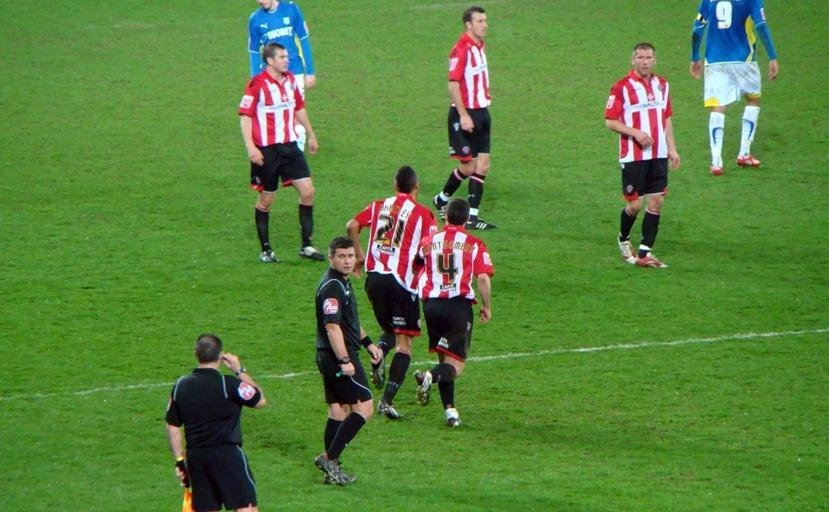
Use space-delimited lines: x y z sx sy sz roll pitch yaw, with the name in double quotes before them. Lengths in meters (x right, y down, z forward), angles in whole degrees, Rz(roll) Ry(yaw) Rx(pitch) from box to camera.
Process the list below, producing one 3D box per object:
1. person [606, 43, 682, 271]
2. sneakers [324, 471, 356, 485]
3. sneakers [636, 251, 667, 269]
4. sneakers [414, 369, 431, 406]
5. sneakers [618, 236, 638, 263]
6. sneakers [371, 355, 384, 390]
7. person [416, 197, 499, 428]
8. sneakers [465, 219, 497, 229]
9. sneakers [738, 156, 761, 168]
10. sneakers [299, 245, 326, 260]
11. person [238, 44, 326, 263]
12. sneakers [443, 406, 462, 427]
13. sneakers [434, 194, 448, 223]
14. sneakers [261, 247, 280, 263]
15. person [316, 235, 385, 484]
"person" 3.223 -1.407 20.204 0.999 3.208 0.478 0 16 6
"sneakers" -0.903 2.664 17.165 0.452 0.163 0.136 -1 19 -5
"sneakers" 3.350 0.061 20.522 0.544 0.202 0.172 4 9 1
"sneakers" 0.072 1.641 17.700 0.193 0.454 0.249 5 24 28
"sneakers" 3.070 -0.071 20.566 0.189 0.446 0.190 -24 -3 1
"sneakers" -0.524 1.433 17.776 0.174 0.402 0.194 -7 34 1
"person" 0.488 0.714 17.948 0.966 2.761 1.131 -2 15 1
"sneakers" 0.986 -0.485 21.468 0.501 0.169 0.152 0 9 -1
"sneakers" 5.463 -1.529 22.942 0.452 0.177 0.146 2 13 -6
"sneakers" -1.519 -0.076 20.702 0.431 0.155 0.152 10 28 20
"person" -1.973 -1.441 20.217 0.993 3.147 0.565 -5 16 -10
"sneakers" 0.477 2.025 17.864 0.165 0.111 0.282 -7 18 -8
"sneakers" 0.324 -0.761 21.587 0.173 0.462 0.220 -15 0 -11
"sneakers" -2.121 -0.002 20.581 0.149 0.109 0.279 -6 9 -38
"person" -0.847 1.250 17.179 0.833 2.904 0.970 -2 16 0
